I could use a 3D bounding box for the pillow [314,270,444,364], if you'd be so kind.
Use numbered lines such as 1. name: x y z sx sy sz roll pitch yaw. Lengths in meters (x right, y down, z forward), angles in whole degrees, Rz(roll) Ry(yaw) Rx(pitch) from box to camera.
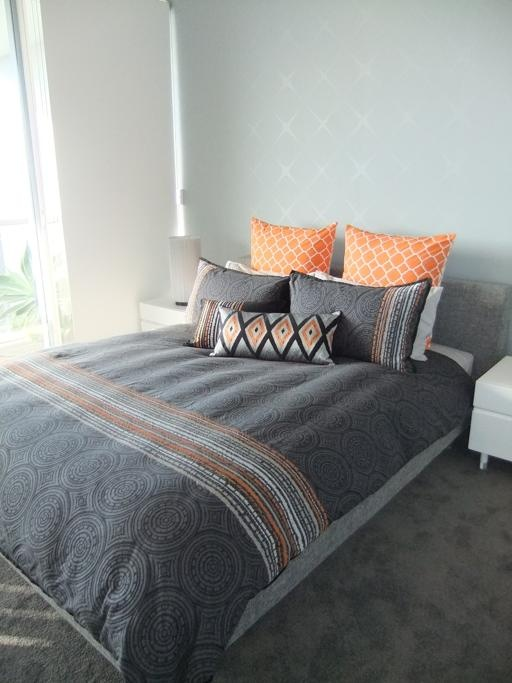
1. pillow: 0.584 -0.041 2.188 0.480 0.466 0.145 22 7 39

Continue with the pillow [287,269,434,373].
1. pillow: 0.401 -0.109 2.282 0.648 0.386 0.233 9 7 19

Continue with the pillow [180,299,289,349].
1. pillow: -0.176 -0.103 2.325 0.411 0.242 0.112 -2 -24 19

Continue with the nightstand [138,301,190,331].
1. nightstand: -0.615 -0.185 3.503 0.425 0.263 0.233 10 14 42

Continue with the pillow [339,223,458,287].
1. pillow: 0.721 -0.428 2.513 0.135 0.271 0.375 -10 20 -44

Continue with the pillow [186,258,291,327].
1. pillow: -0.070 -0.243 2.526 0.434 0.273 0.127 13 -11 37

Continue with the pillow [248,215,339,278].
1. pillow: 0.232 -0.540 2.893 0.479 0.353 0.169 8 10 37
